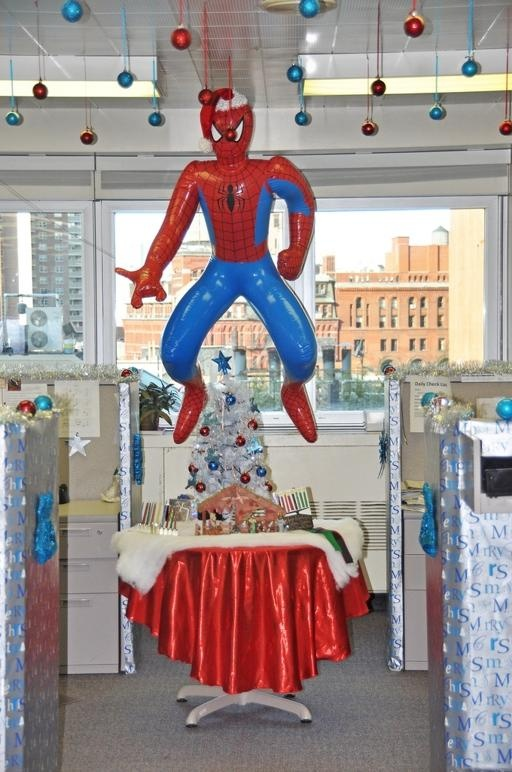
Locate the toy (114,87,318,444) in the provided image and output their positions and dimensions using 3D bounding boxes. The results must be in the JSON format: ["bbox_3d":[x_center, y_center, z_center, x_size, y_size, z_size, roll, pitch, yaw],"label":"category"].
[{"bbox_3d":[-0.120,-0.410,3.378,0.717,1.373,0.481,-3,23,-3],"label":"toy"}]

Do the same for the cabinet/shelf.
[{"bbox_3d":[-0.686,0.864,3.718,0.237,0.650,0.099,-1,2,-14],"label":"cabinet/shelf"}]

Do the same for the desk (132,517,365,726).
[{"bbox_3d":[-0.057,0.907,3.323,0.738,0.626,0.719,2,-2,-18],"label":"desk"}]
